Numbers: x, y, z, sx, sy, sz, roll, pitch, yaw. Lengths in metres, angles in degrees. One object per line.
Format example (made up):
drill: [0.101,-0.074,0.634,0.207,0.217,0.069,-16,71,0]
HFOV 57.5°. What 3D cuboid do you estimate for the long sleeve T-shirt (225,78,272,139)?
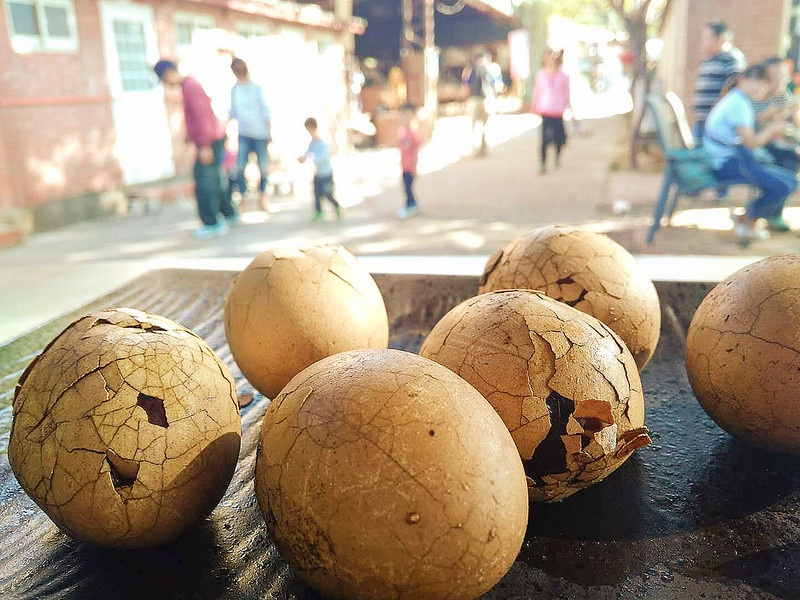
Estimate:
long sleeve T-shirt: [-1.705,-2.152,8.281,0.516,0.632,0.355,2,33,8]

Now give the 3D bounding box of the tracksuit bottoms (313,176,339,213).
tracksuit bottoms: [-0.864,-1.238,8.416,0.282,0.392,0.150,6,35,5]

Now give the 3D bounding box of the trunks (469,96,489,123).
trunks: [1.356,-3.234,12.358,0.243,0.461,0.723,1,26,4]

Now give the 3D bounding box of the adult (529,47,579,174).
adult: [1.988,-2.467,9.550,0.497,1.687,0.464,-1,41,10]

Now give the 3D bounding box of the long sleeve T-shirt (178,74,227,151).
long sleeve T-shirt: [-1.949,-1.776,7.099,0.322,0.734,0.295,-14,31,0]

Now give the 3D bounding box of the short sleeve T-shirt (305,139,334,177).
short sleeve T-shirt: [-0.900,-1.550,8.001,0.270,0.501,0.375,-4,25,-7]

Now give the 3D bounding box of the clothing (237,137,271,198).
clothing: [-1.734,-1.574,8.580,0.373,0.261,1.070,0,54,-13]

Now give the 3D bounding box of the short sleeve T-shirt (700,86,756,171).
short sleeve T-shirt: [2.753,-1.398,6.056,0.340,0.678,0.541,10,29,15]

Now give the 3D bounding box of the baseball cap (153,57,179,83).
baseball cap: [-2.220,-2.142,6.928,0.181,0.216,0.430,-7,26,-13]
